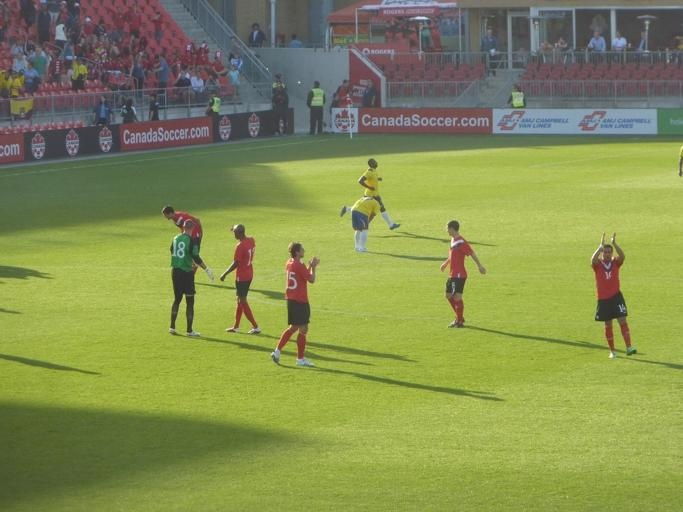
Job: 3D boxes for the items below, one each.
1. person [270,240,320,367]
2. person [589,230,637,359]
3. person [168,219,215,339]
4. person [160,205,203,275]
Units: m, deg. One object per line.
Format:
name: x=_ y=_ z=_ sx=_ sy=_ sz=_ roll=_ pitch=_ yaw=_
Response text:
person: x=-0.844 y=0.873 z=24.810 sx=0.866 sy=2.311 sz=1.324 roll=-2 pitch=9 yaw=-5
person: x=5.162 y=0.654 z=25.493 sx=0.784 sy=2.311 sz=1.490 roll=0 pitch=9 yaw=11
person: x=-3.029 y=0.348 z=26.714 sx=0.790 sy=2.294 sz=1.254 roll=-2 pitch=9 yaw=-7
person: x=-3.203 y=-0.360 z=27.966 sx=0.764 sy=1.635 sz=0.497 roll=-12 pitch=24 yaw=-8
